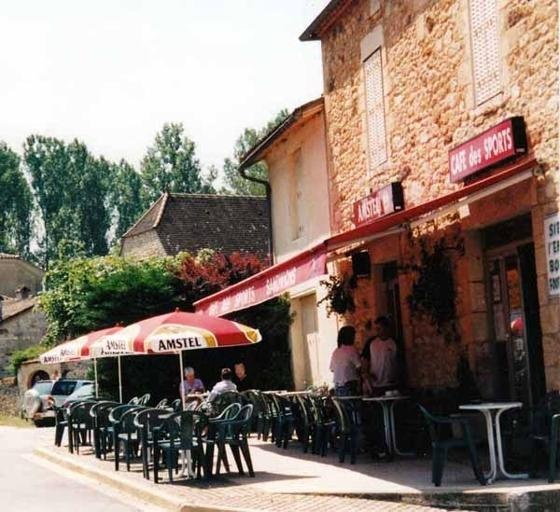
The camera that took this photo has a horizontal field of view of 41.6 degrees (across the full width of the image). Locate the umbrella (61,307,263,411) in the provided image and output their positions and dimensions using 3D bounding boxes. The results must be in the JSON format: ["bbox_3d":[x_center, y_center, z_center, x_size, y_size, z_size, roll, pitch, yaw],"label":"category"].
[{"bbox_3d":[-1.750,1.190,11.369,2.153,1.777,2.309,-2,-2,34],"label":"umbrella"}]

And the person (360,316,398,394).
[{"bbox_3d":[1.509,1.767,10.996,0.549,0.523,1.962,2,-58,10],"label":"person"}]

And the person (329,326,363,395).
[{"bbox_3d":[0.993,1.595,11.114,0.470,1.028,0.432,-3,-15,3],"label":"person"}]

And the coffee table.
[{"bbox_3d":[2.150,1.847,7.372,0.540,0.769,0.619,-4,-10,-5],"label":"coffee table"}]

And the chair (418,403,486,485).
[{"bbox_3d":[1.804,1.929,7.502,0.609,0.854,0.700,2,-13,-20],"label":"chair"}]
